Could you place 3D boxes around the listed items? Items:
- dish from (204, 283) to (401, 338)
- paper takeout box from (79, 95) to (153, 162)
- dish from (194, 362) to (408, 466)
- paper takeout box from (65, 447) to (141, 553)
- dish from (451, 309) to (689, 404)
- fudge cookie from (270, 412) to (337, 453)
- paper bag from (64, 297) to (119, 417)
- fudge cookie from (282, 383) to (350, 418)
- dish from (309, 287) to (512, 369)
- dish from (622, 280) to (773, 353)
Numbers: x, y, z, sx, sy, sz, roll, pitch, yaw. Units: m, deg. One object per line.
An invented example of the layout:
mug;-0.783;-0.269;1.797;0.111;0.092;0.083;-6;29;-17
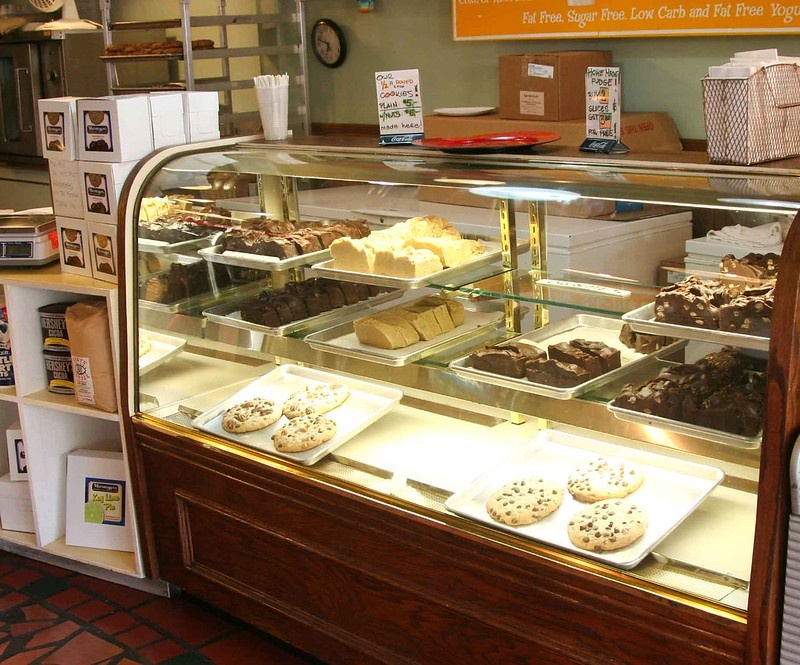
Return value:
dish;-0.274;-0.091;2.158;0.426;0.038;0.544;-10;-1;-34
paper takeout box;-0.936;-0.671;2.156;0.200;0.182;0.239;10;20;27
dish;-0.283;0.229;2.031;0.502;0.028;0.388;11;29;36
paper takeout box;-1.080;0.628;2.503;0.523;0.380;0.105;-24;-19;29
dish;0.390;0.059;1.591;0.376;0.028;0.272;-19;15;-34
fudge cookie;-0.283;0.299;1.934;0.166;0.027;0.114;-4;21;11
paper bag;-1.091;0.086;2.331;0.160;0.371;0.252;-12;19;-22
fudge cookie;-0.267;0.214;2.078;0.139;0.027;0.170;9;20;37
dish;0.030;-0.011;1.859;0.332;0.058;0.325;-17;13;-42
dish;0.592;-0.012;1.335;0.052;0.076;0.333;-16;19;-35
